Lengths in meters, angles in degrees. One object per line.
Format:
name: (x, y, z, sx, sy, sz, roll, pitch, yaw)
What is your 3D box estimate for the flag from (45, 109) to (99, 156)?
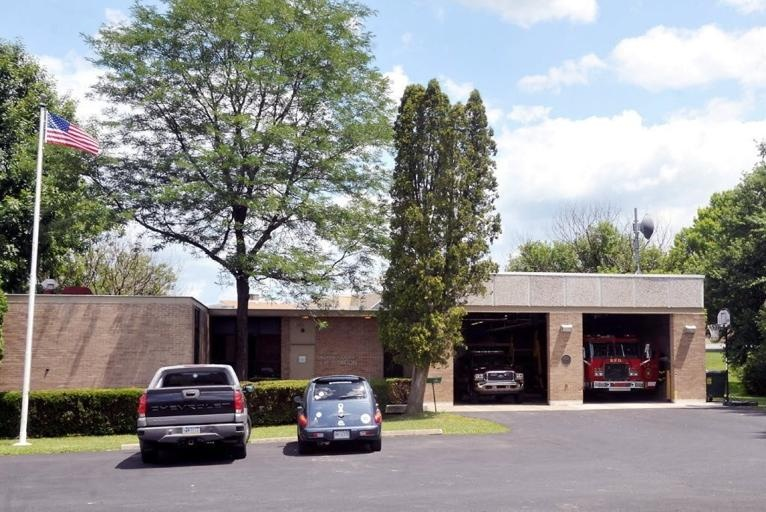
flag: (-12.472, -4.953, 42.254, 2.228, 1.708, 0.062, 11, -33, -40)

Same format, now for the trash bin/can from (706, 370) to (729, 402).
trash bin/can: (16.783, 6.587, 52.800, 1.488, 1.537, 0.826, 0, -7, -9)

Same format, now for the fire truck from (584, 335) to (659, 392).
fire truck: (11.913, 5.405, 52.849, 3.592, 2.550, 1.426, 0, 6, 4)

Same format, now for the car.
car: (-1.598, 5.717, 37.205, 2.852, 2.381, 1.561, -1, 6, -8)
